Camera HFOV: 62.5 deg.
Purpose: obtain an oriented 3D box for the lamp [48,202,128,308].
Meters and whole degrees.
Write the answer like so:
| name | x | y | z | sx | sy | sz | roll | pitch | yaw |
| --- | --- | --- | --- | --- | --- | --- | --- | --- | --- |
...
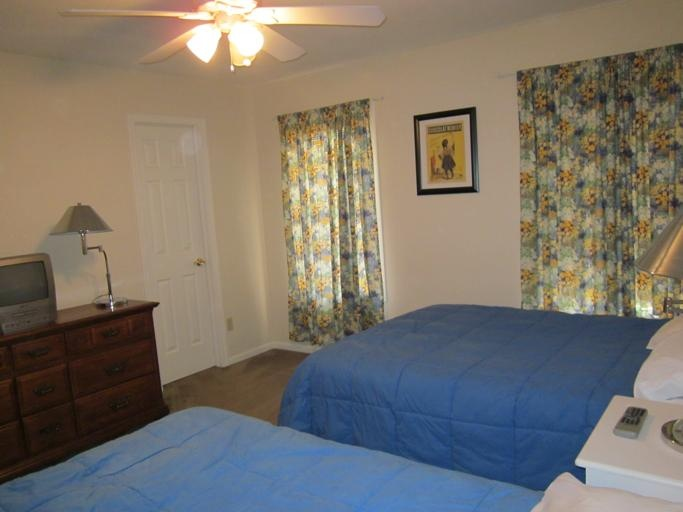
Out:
| name | x | y | z | sx | sy | sz | roll | pitch | yaw |
| --- | --- | --- | --- | --- | --- | --- | --- | --- | --- |
| lamp | -1.938 | -0.002 | 4.299 | 0.448 | 0.786 | 0.517 | -10 | 9 | -29 |

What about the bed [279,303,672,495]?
| name | x | y | z | sx | sy | sz | roll | pitch | yaw |
| --- | --- | --- | --- | --- | --- | --- | --- | --- | --- |
| bed | 0.647 | 0.717 | 3.049 | 1.234 | 0.301 | 1.252 | -2 | 6 | 36 |

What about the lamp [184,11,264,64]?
| name | x | y | z | sx | sy | sz | roll | pitch | yaw |
| --- | --- | --- | --- | --- | --- | --- | --- | --- | --- |
| lamp | -0.579 | -1.116 | 3.024 | 0.292 | 0.079 | 0.297 | 11 | 12 | 43 |

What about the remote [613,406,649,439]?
| name | x | y | z | sx | sy | sz | roll | pitch | yaw |
| --- | --- | --- | --- | --- | --- | --- | --- | --- | --- |
| remote | 1.151 | 0.654 | 2.233 | 0.082 | 0.034 | 0.188 | -1 | 19 | 44 |

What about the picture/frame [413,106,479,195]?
| name | x | y | z | sx | sy | sz | roll | pitch | yaw |
| --- | --- | --- | --- | --- | --- | --- | --- | --- | --- |
| picture/frame | 0.897 | -0.901 | 4.708 | 0.751 | 0.902 | 0.035 | 2 | 9 | 39 |
